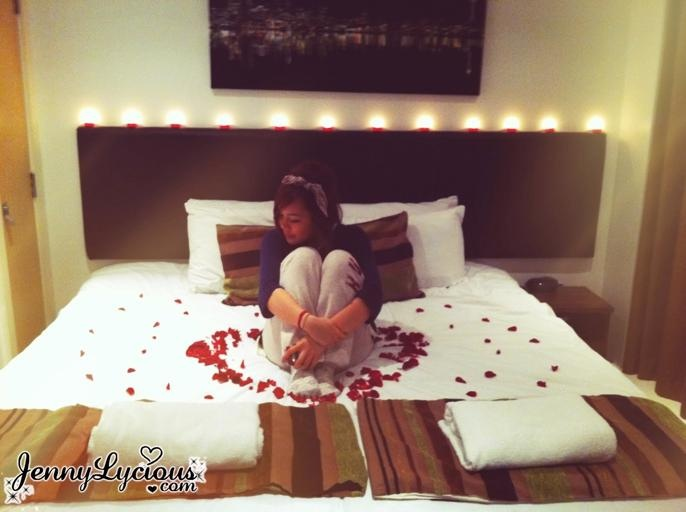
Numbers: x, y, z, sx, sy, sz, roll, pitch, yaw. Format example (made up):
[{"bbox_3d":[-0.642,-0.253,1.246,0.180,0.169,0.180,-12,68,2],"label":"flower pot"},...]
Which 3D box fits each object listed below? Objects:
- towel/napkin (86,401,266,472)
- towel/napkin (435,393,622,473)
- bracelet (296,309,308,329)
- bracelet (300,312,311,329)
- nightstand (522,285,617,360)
[{"bbox_3d":[-0.510,0.572,1.746,0.403,0.117,0.245,1,18,-4],"label":"towel/napkin"},{"bbox_3d":[0.600,0.580,1.783,0.347,0.093,0.275,-1,16,-1],"label":"towel/napkin"},{"bbox_3d":[-0.165,0.254,2.145,0.021,0.062,0.053,14,-5,7],"label":"bracelet"},{"bbox_3d":[-0.155,0.258,2.149,0.019,0.057,0.048,9,13,9],"label":"bracelet"},{"bbox_3d":[1.381,0.390,3.459,0.461,0.474,0.477,0,27,4],"label":"nightstand"}]
